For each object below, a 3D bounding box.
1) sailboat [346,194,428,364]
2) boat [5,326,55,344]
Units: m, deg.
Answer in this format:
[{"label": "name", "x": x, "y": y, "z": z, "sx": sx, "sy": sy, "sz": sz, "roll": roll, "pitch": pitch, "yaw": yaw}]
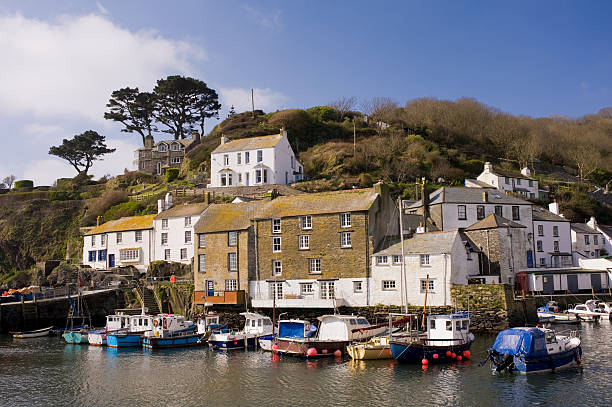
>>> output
[{"label": "sailboat", "x": 7.907, "y": 12.664, "z": 69.826, "sx": 7.415, "sy": 15.575, "sz": 8.007, "roll": -1, "pitch": 4, "yaw": -1}, {"label": "boat", "x": -32.778, "y": 15.787, "z": 83.290, "sx": 5.216, "sy": 1.276, "sz": 1.994, "roll": 1, "pitch": -1, "yaw": -15}]
